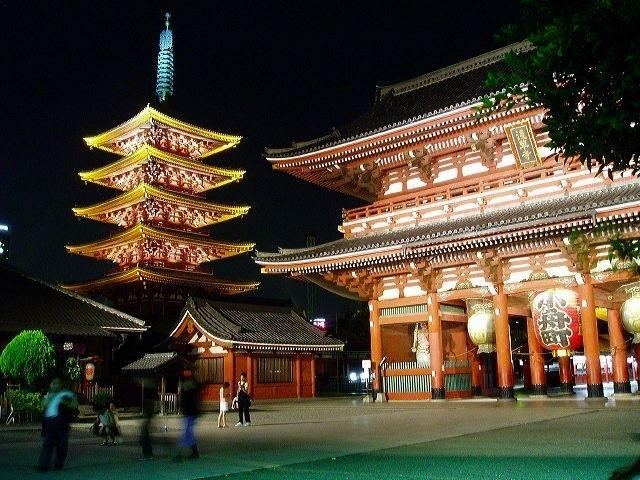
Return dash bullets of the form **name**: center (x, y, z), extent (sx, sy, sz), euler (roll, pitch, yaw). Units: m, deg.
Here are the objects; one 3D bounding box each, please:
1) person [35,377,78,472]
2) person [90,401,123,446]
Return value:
- **person**: center (-5.268, 3.718, 12.560), extent (0.592, 1.814, 0.502), euler (5, -19, -23)
- **person**: center (-5.625, 4.872, 16.508), extent (0.679, 1.201, 1.537), euler (3, -20, -17)
